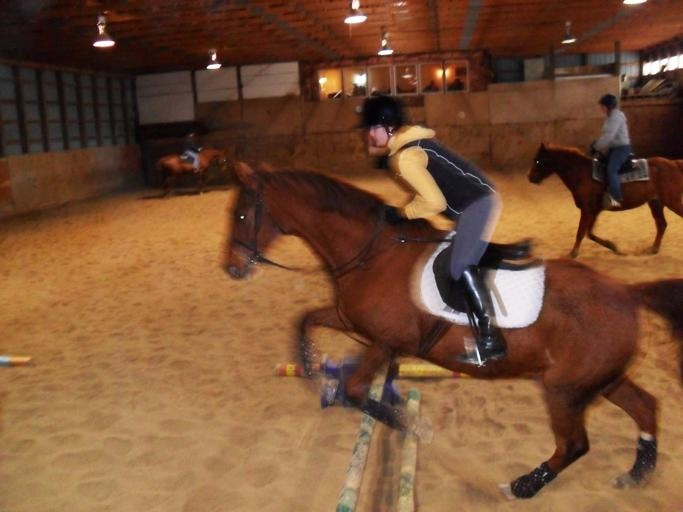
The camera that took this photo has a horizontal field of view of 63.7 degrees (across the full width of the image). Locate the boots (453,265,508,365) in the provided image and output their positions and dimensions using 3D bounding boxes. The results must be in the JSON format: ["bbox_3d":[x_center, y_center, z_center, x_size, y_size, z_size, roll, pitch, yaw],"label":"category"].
[{"bbox_3d":[0.937,0.351,3.738,0.383,0.738,0.263,1,20,28],"label":"boots"}]

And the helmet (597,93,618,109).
[{"bbox_3d":[3.783,-2.199,7.794,0.204,0.224,0.526,5,19,24],"label":"helmet"}]

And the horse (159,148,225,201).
[{"bbox_3d":[-4.294,-2.448,15.504,2.079,1.121,1.177,-15,21,-34],"label":"horse"}]

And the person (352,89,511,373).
[{"bbox_3d":[0.679,-0.189,3.812,1.029,1.819,0.412,8,20,32],"label":"person"}]
